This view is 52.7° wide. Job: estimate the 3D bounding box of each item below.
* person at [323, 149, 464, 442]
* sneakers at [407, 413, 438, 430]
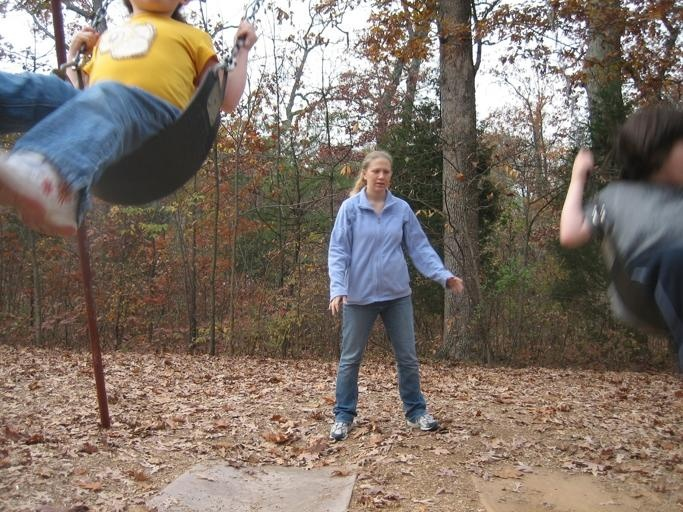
[{"bbox_3d":[0.400,0.350,6.372,1.046,2.632,0.798,1,7,-1],"label":"person"},{"bbox_3d":[0.746,1.528,6.372,0.115,0.113,0.266,8,-15,-42],"label":"sneakers"}]
